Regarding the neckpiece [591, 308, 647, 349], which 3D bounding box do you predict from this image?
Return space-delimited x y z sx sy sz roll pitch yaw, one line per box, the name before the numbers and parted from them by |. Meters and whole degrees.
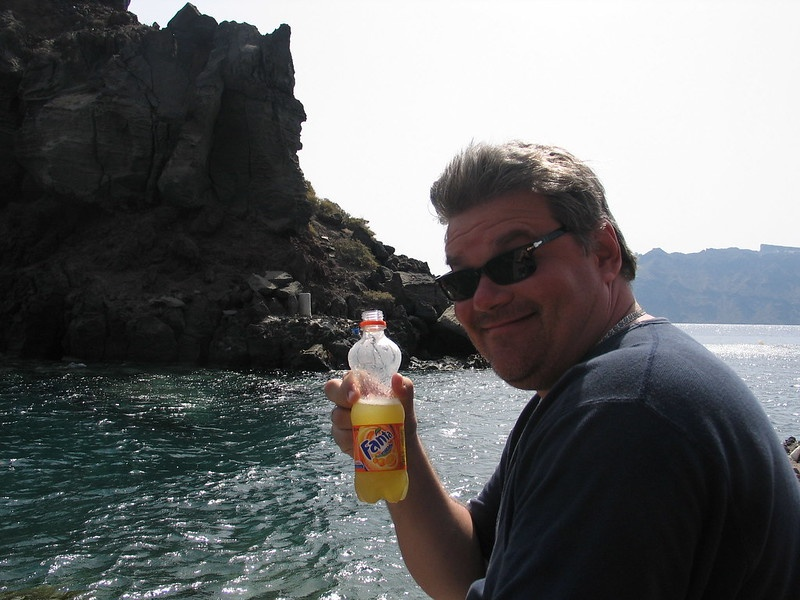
neckpiece | 0.966 0.105 2.536 0.188 0.043 0.154 -33 10 9
